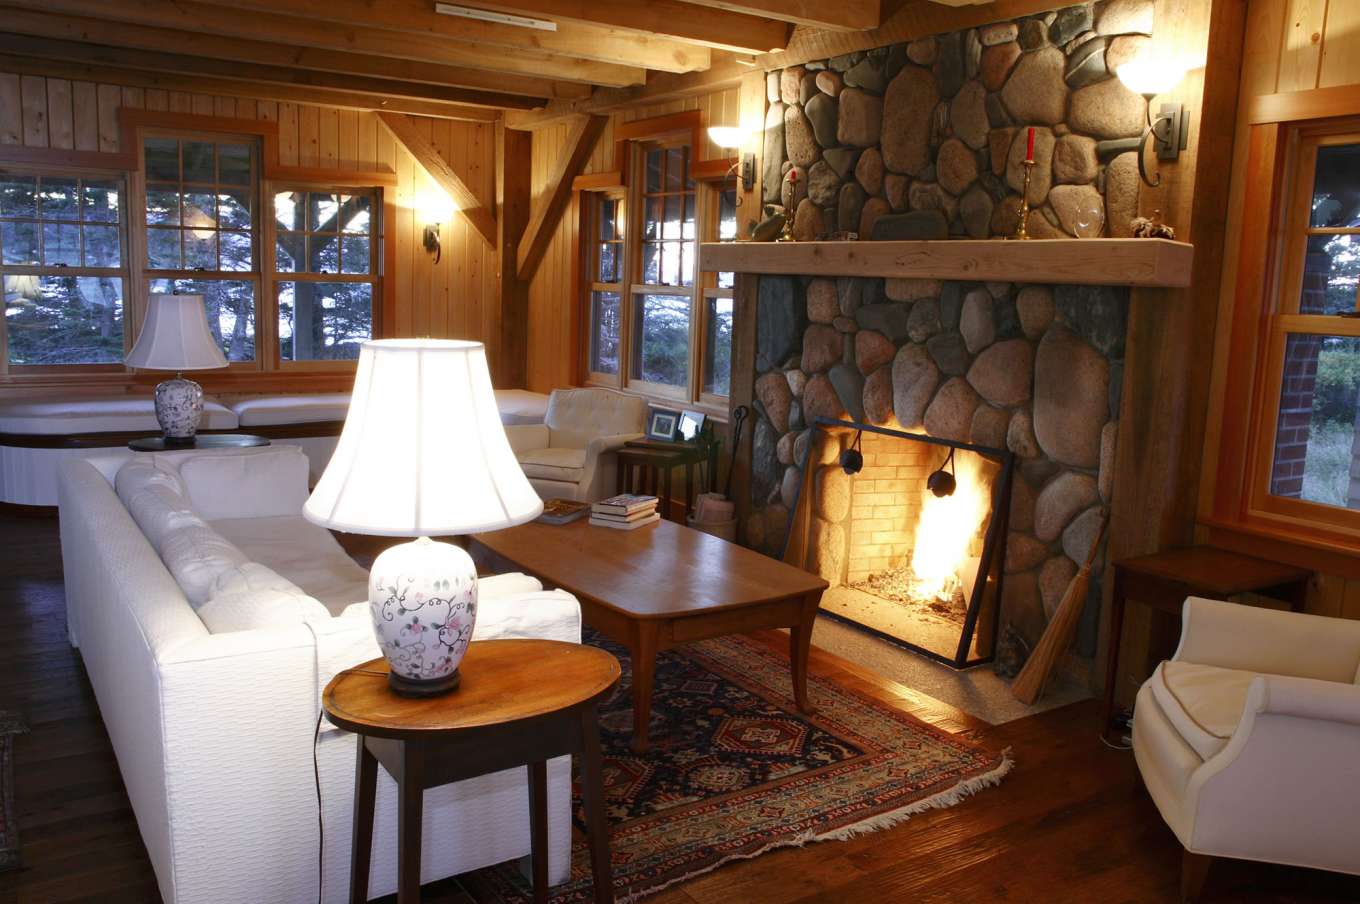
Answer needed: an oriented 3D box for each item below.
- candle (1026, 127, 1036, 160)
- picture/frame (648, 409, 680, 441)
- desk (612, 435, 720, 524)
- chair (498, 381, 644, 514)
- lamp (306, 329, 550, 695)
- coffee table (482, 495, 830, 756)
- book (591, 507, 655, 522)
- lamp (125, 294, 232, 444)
[{"bbox_3d":[1.757,-1.539,4.836,0.051,0.175,0.187,3,14,19],"label":"candle"},{"bbox_3d":[-0.118,-0.190,6.937,0.233,0.229,0.031,-1,-11,37],"label":"picture/frame"},{"bbox_3d":[-0.067,0.141,6.867,0.573,0.706,0.766,9,12,43],"label":"desk"},{"bbox_3d":[-0.795,0.002,7.081,0.999,0.935,0.942,-1,12,-12],"label":"chair"},{"bbox_3d":[-0.766,0.184,2.886,0.673,1.012,0.346,-6,14,-16],"label":"lamp"},{"bbox_3d":[0.032,0.791,5.096,0.979,0.452,1.850,-3,6,-12],"label":"coffee table"},{"bbox_3d":[-0.284,0.352,5.416,0.144,0.047,0.181,4,6,36],"label":"book"},{"bbox_3d":[-3.074,-0.517,5.914,0.508,0.888,0.375,-11,16,-34],"label":"lamp"}]
